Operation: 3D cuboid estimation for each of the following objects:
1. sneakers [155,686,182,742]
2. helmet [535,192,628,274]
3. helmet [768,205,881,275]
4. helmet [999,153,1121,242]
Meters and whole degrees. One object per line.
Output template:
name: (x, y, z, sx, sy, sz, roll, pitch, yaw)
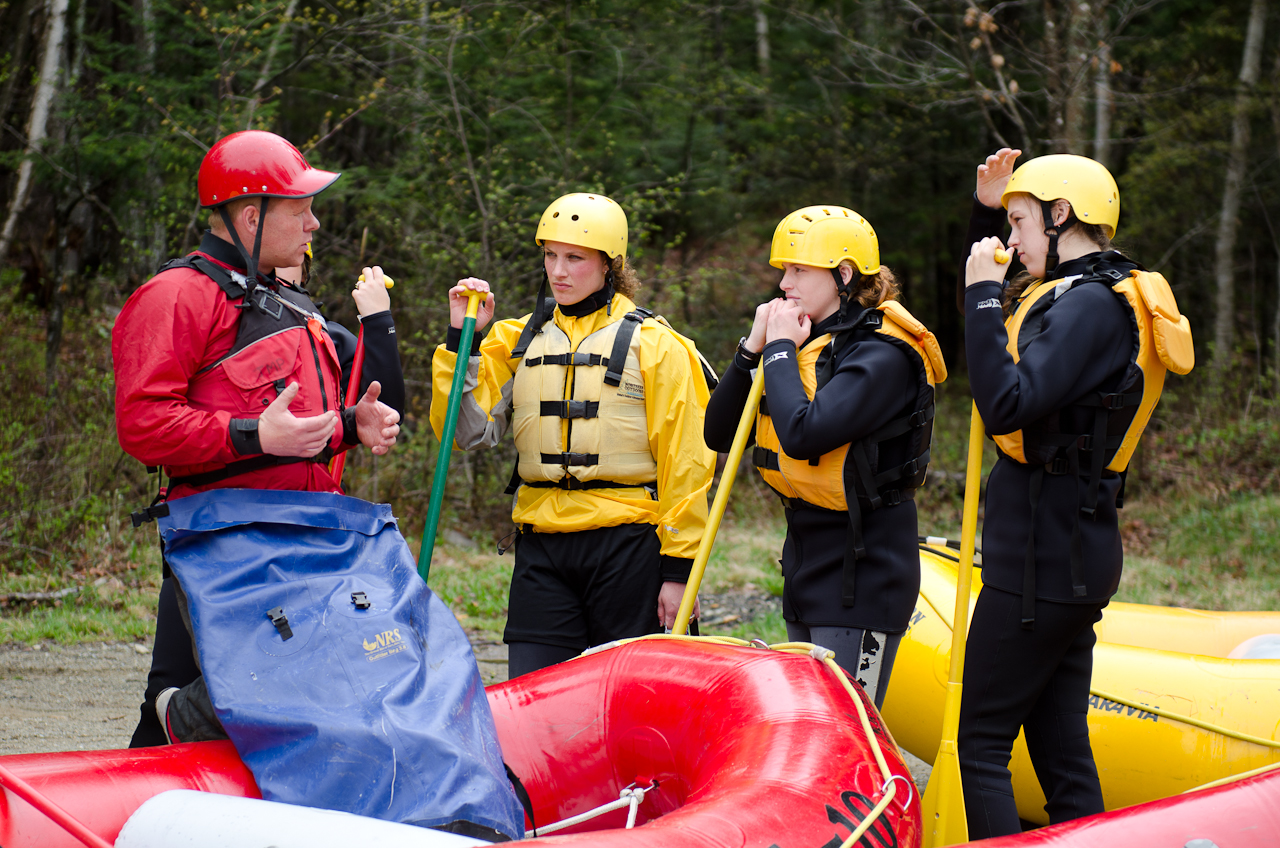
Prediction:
sneakers: (-2.597, 1.575, 9.355, 0.086, 0.294, 0.163, -4, -4, 35)
helmet: (-0.354, -1.202, 10.574, 0.479, 0.415, 0.374, -9, 15, -36)
helmet: (1.089, -1.083, 10.164, 0.496, 0.313, 0.402, 10, -2, -12)
helmet: (2.490, -1.304, 9.957, 0.523, 0.463, 0.444, -13, -6, 12)
